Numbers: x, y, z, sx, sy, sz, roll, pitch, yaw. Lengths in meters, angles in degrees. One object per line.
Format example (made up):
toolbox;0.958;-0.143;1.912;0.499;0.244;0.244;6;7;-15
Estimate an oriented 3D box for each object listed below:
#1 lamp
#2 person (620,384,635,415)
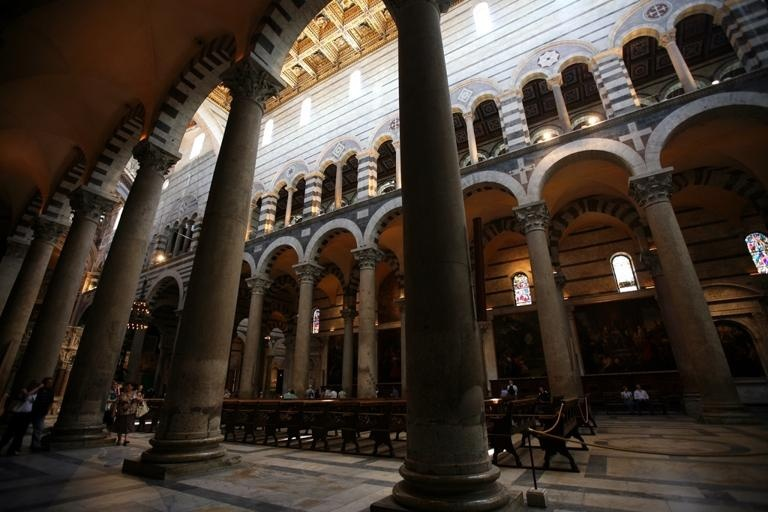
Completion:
lamp;-5.932;-0.575;9.895;0.670;4.069;0.760;-19;-29;36
person;8.804;5.161;14.991;0.415;0.934;1.240;-12;-24;25
